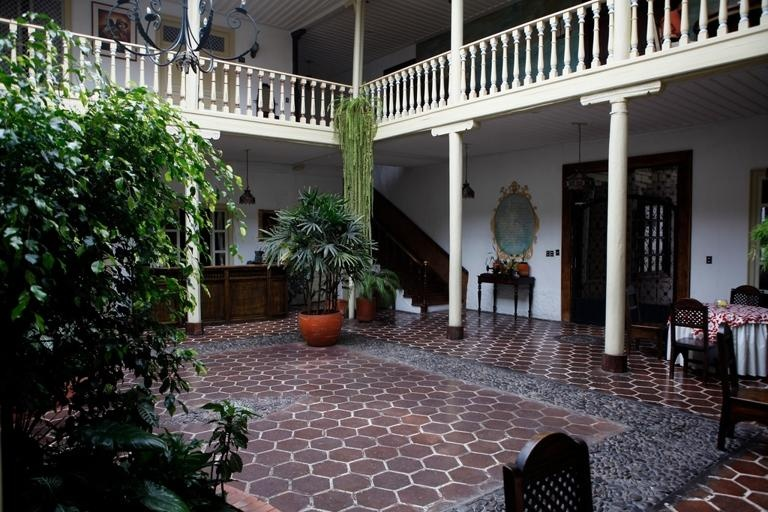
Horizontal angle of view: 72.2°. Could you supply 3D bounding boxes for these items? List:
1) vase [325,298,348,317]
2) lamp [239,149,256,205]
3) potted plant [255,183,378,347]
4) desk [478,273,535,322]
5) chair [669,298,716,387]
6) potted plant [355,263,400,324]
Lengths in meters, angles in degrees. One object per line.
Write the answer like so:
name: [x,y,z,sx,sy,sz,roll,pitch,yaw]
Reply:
vase: [-0.894,0.982,10.209,0.526,0.415,0.465,5,-5,-37]
lamp: [-3.294,-1.812,12.589,0.348,1.144,1.909,0,1,-15]
potted plant: [-1.054,0.212,8.810,1.658,2.633,0.902,0,2,-5]
desk: [2.730,0.655,11.953,0.929,1.259,1.477,-2,3,-39]
chair: [4.159,1.090,7.095,0.551,1.088,0.987,1,2,32]
potted plant: [-0.207,0.839,11.723,1.161,1.181,1.044,3,-1,-1]
